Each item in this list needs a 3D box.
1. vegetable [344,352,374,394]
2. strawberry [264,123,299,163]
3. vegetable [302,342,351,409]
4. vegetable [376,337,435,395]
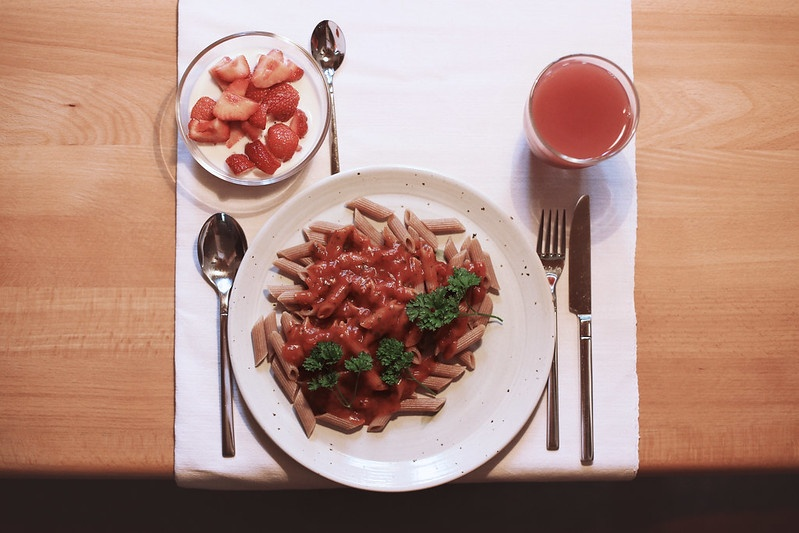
[{"bbox_3d":[-0.223,0.656,4.594,0.206,0.281,0.178,4,54,-6],"label":"vegetable"},{"bbox_3d":[-0.695,-0.733,4.733,0.183,0.072,0.208,-43,89,-3],"label":"strawberry"},{"bbox_3d":[-0.453,0.606,4.479,0.483,0.239,0.138,-69,141,-62],"label":"vegetable"},{"bbox_3d":[0.051,0.560,4.589,0.318,0.094,0.189,21,66,-23],"label":"vegetable"}]
